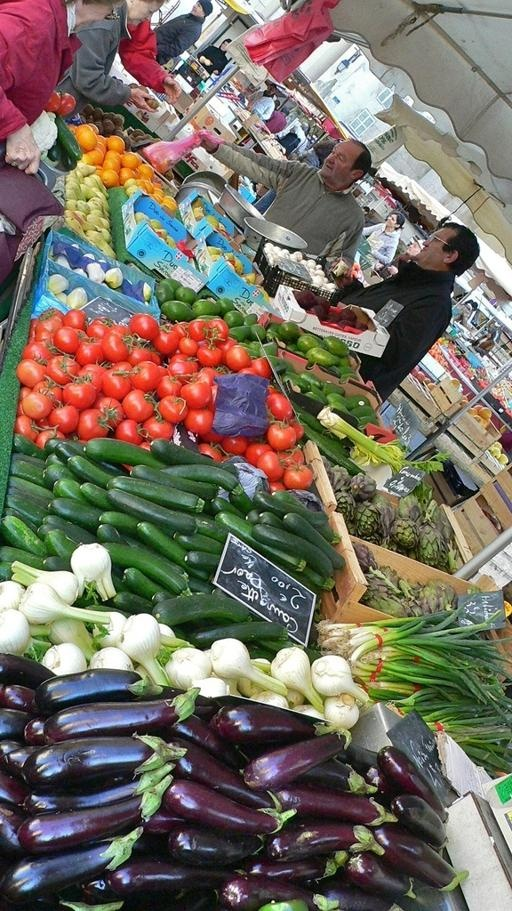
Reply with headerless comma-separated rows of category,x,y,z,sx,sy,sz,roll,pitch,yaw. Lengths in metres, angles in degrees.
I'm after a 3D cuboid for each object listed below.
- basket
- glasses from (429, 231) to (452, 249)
basket,0.278,-1.601,5.324,0.542,0.253,0.754,15,27,-19
glasses,1.808,-2.132,5.952,0.151,0.052,0.149,-30,36,-17
